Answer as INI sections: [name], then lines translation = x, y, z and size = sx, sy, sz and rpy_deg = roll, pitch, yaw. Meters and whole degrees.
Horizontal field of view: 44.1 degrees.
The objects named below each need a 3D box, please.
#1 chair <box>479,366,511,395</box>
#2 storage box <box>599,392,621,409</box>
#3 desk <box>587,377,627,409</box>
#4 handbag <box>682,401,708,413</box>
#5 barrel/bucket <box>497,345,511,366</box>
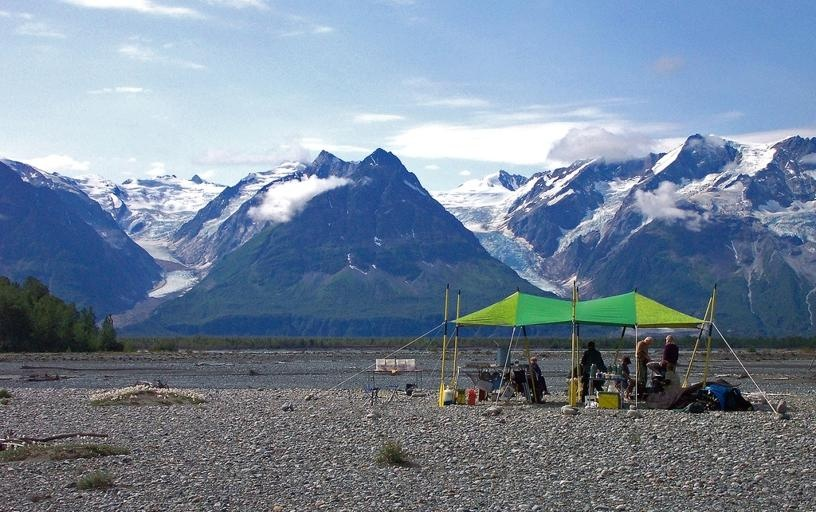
[chair]
translation = 6.286, 8.976, 72.819
size = 1.768, 0.752, 2.116
rpy_deg = 3, -21, 3
[storage box]
translation = 13.633, 9.770, 68.123
size = 1.279, 0.807, 1.186
rpy_deg = -1, -3, 10
[desk]
translation = 13.861, 9.518, 69.349
size = 2.040, 1.855, 2.246
rpy_deg = -2, -15, 9
[handbag]
translation = 19.019, 9.915, 66.089
size = 1.069, 0.361, 0.797
rpy_deg = 2, -3, -30
[barrel/bucket]
translation = 6.801, 7.221, 71.915
size = 0.930, 1.408, 2.001
rpy_deg = 0, 0, 6
